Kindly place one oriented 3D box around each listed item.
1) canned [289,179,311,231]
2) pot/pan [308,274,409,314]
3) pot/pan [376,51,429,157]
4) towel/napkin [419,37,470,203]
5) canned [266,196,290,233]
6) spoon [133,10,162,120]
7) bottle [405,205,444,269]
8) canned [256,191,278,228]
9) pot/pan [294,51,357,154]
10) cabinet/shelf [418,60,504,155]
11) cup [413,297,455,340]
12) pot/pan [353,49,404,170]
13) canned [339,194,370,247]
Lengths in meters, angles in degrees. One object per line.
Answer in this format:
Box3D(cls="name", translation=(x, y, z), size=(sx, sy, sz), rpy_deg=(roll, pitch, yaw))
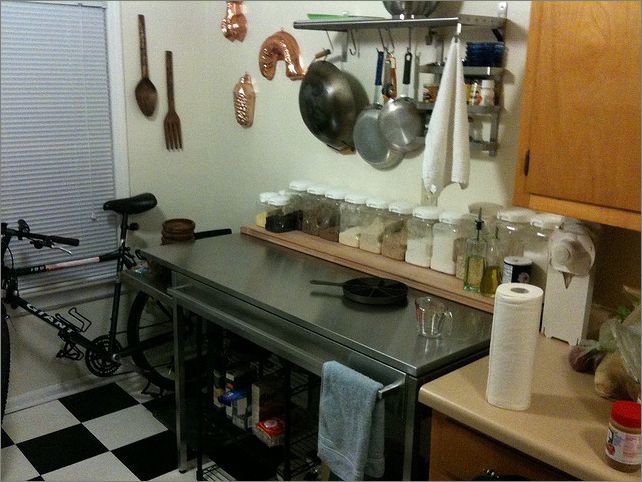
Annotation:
Box3D(cls="canned", translation=(-0.120, -0.202, 2.894), size=(0.149, 0.287, 0.161), rpy_deg=(-11, 26, -24))
Box3D(cls="pot/pan", translation=(0.203, 0.212, 2.175), size=(0.276, 0.041, 0.173), rpy_deg=(4, 18, 19))
Box3D(cls="pot/pan", translation=(0.370, -0.630, 2.357), size=(0.060, 0.441, 0.244), rpy_deg=(1, 9, -16))
Box3D(cls="towel/napkin", translation=(0.503, -0.476, 2.015), size=(0.176, 0.626, 0.167), rpy_deg=(3, 12, 11))
Box3D(cls="canned", translation=(-0.249, -0.154, 2.905), size=(0.128, 0.206, 0.078), rpy_deg=(-1, 12, -5))
Box3D(cls="spoon", translation=(-1.125, -1.109, 3.233), size=(0.151, 0.631, 0.051), rpy_deg=(-5, 13, -25))
Box3D(cls="bottle", translation=(0.476, -0.014, 2.325), size=(0.168, 0.325, 0.176), rpy_deg=(1, 18, 0))
Box3D(cls="canned", translation=(-0.314, -0.176, 2.953), size=(0.128, 0.224, 0.135), rpy_deg=(-8, 24, -26))
Box3D(cls="pot/pan", translation=(0.039, -0.738, 2.720), size=(0.100, 0.502, 0.394), rpy_deg=(-13, 8, -26))
Box3D(cls="cabinet/shelf", translation=(0.592, -0.548, 2.090), size=(0.145, 0.472, 0.381), rpy_deg=(-9, 16, -41))
Box3D(cls="cup", translation=(0.406, 0.282, 1.906), size=(0.121, 0.114, 0.148), rpy_deg=(-8, 23, -26))
Box3D(cls="pot/pan", translation=(0.274, -0.649, 2.552), size=(0.075, 0.560, 0.297), rpy_deg=(-6, 15, -28))
Box3D(cls="canned", translation=(0.178, -0.107, 2.620), size=(0.160, 0.292, 0.160), rpy_deg=(-12, 26, -38))
